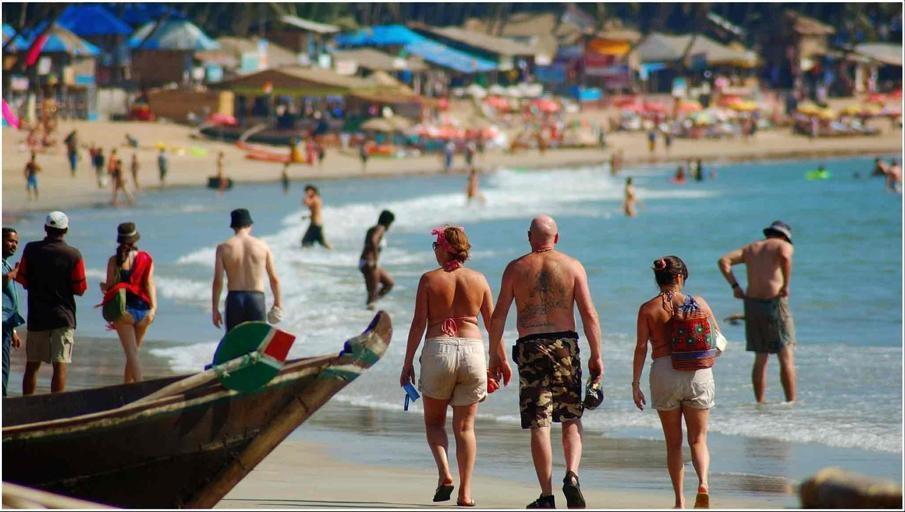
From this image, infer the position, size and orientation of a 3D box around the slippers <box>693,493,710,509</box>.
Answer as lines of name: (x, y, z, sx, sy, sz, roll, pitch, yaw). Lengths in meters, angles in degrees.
slippers: (7.987, 7.746, 56.710, 0.465, 0.433, 0.459, 0, -4, -8)
